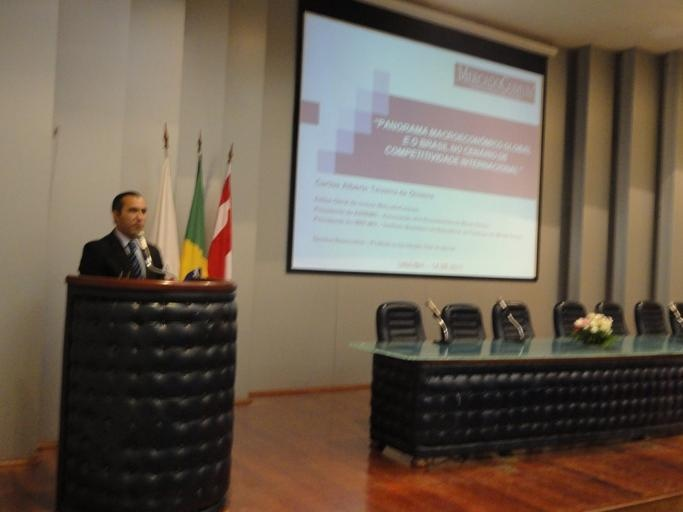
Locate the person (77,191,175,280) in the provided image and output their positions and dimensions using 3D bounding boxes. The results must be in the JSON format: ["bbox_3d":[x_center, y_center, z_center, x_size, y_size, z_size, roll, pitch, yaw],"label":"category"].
[{"bbox_3d":[-1.438,-0.151,3.674,0.538,0.605,0.837,1,1,-34],"label":"person"}]

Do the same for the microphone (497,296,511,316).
[{"bbox_3d":[1.740,0.532,5.772,0.046,0.164,0.155,-34,-45,24],"label":"microphone"}]

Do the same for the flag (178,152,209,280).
[{"bbox_3d":[-1.523,-0.430,5.614,0.268,1.299,0.400,1,1,-15],"label":"flag"}]
